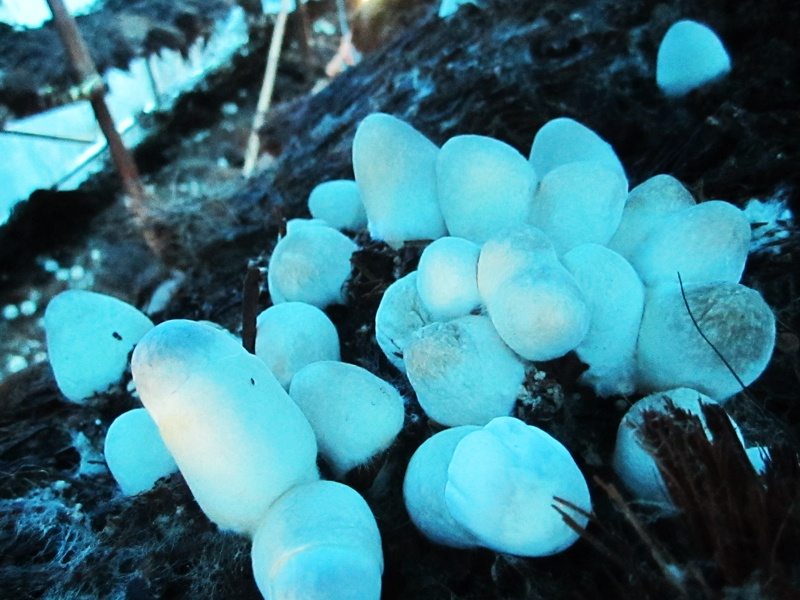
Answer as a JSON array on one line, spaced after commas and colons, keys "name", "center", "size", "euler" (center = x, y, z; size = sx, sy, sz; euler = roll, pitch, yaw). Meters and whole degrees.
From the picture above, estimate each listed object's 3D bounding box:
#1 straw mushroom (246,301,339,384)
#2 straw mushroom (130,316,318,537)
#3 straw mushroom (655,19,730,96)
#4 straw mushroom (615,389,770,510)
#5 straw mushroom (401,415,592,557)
[{"name": "straw mushroom", "center": [-0.167, 0.069, 1.485], "size": [0.124, 0.134, 0.154], "euler": [-7, 31, 10]}, {"name": "straw mushroom", "center": [-0.276, 0.197, 1.358], "size": [0.188, 0.157, 0.364], "euler": [-34, 81, -25]}, {"name": "straw mushroom", "center": [0.558, -0.452, 1.654], "size": [0.131, 0.120, 0.099], "euler": [7, 52, 8]}, {"name": "straw mushroom", "center": [0.434, 0.235, 1.315], "size": [0.189, 0.211, 0.147], "euler": [-3, 63, -21]}, {"name": "straw mushroom", "center": [0.144, 0.276, 1.243], "size": [0.229, 0.118, 0.188], "euler": [29, 89, 14]}]
